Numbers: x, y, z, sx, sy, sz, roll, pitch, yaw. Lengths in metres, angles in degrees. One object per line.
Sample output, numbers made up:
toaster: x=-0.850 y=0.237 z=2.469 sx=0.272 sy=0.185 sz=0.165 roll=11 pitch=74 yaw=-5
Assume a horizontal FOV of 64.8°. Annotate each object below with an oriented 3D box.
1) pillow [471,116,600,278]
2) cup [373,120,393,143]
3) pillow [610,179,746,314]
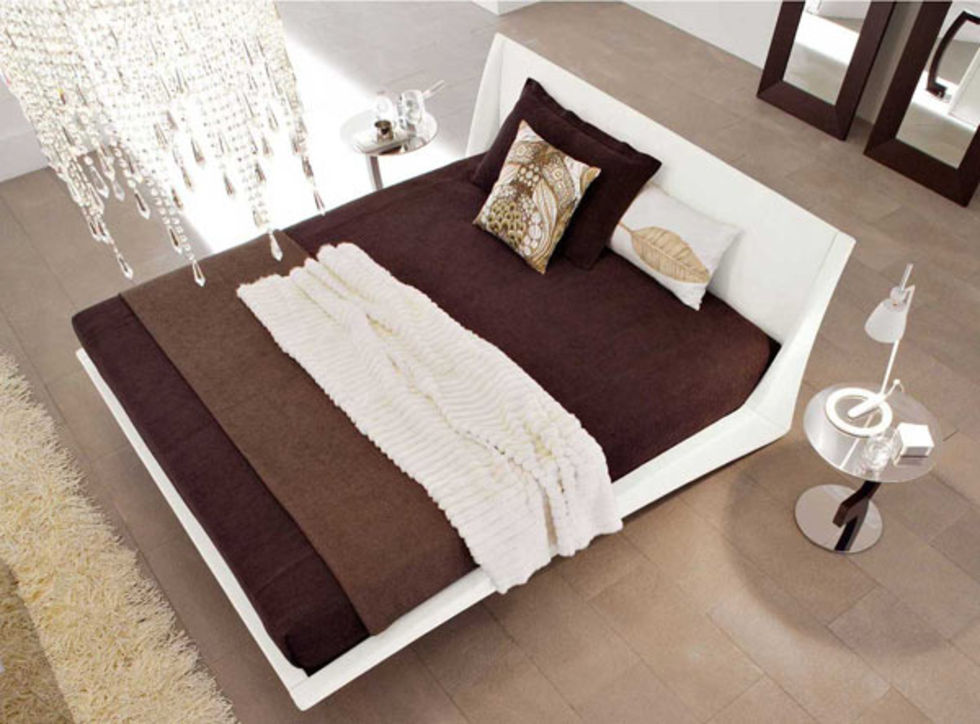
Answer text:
pillow: x=0.299 y=-0.732 z=3.684 sx=0.624 sy=0.195 sz=0.613 roll=37 pitch=104 yaw=31
cup: x=-0.560 y=-1.237 z=4.167 sx=0.105 sy=0.079 sz=0.104 roll=2 pitch=47 yaw=-2
pillow: x=0.891 y=-0.537 z=3.451 sx=0.666 sy=0.195 sz=0.475 roll=40 pitch=106 yaw=36
